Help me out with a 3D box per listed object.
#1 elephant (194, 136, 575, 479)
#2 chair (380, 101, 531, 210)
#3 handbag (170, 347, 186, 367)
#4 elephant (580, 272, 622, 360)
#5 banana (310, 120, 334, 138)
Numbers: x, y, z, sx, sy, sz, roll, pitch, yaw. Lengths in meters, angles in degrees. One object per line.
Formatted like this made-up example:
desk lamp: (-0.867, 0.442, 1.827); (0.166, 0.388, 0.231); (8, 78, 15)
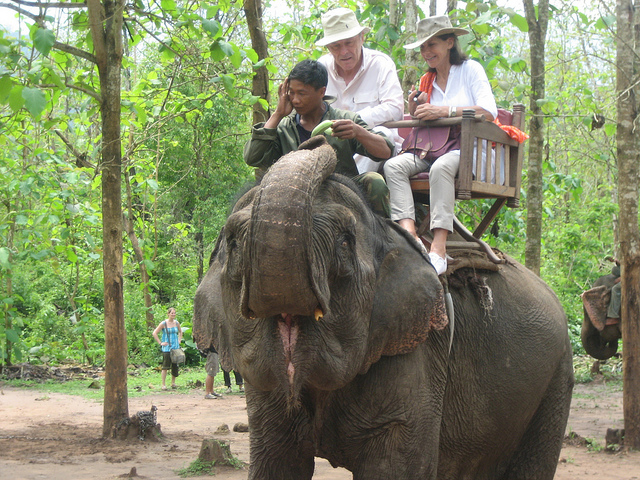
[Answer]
elephant: (0.670, 0.660, 6.569); (3.369, 2.762, 1.231); (1, 0, -41)
chair: (1.188, -0.817, 7.240); (0.894, 0.967, 1.107); (-7, 13, -43)
handbag: (-2.641, 2.195, 15.197); (0.310, 0.311, 0.279); (0, -23, -19)
elephant: (4.502, 1.263, 13.066); (0.699, 0.886, 1.508); (-10, -31, 22)
banana: (0.017, -0.868, 6.221); (0.168, 0.148, 0.182); (0, 0, -5)
